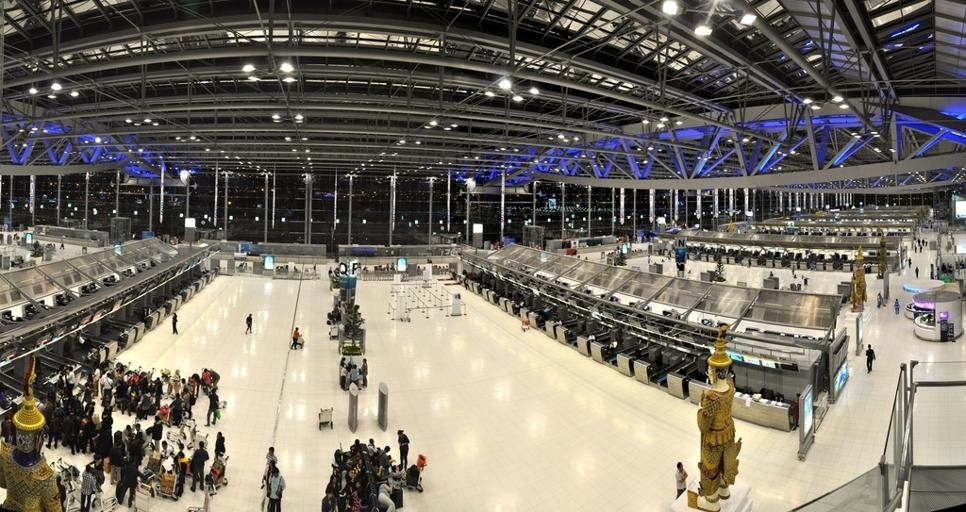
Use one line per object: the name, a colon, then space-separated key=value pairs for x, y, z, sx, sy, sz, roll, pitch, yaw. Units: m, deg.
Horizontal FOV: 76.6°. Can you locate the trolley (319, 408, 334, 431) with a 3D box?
trolley: x=-8.479 y=8.717 z=33.052 sx=0.891 sy=1.196 sz=1.021 roll=1 pitch=1 yaw=-24

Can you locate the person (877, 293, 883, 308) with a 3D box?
person: x=26.744 y=2.928 z=41.222 sx=0.325 sy=0.928 sz=1.159 roll=2 pitch=4 yaw=33

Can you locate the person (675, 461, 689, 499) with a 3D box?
person: x=9.717 y=10.786 z=29.955 sx=0.581 sy=1.592 sz=1.481 roll=1 pitch=4 yaw=18

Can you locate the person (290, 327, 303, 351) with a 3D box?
person: x=-12.168 y=5.311 z=40.234 sx=0.770 sy=1.189 sz=1.707 roll=-1 pitch=4 yaw=-17

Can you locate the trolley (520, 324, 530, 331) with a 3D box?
trolley: x=2.959 y=4.909 z=42.531 sx=0.530 sy=0.433 sz=0.608 roll=0 pitch=4 yaw=5

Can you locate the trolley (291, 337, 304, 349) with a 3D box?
trolley: x=-12.015 y=5.614 z=39.864 sx=0.702 sy=0.578 sz=0.668 roll=-2 pitch=1 yaw=-20
